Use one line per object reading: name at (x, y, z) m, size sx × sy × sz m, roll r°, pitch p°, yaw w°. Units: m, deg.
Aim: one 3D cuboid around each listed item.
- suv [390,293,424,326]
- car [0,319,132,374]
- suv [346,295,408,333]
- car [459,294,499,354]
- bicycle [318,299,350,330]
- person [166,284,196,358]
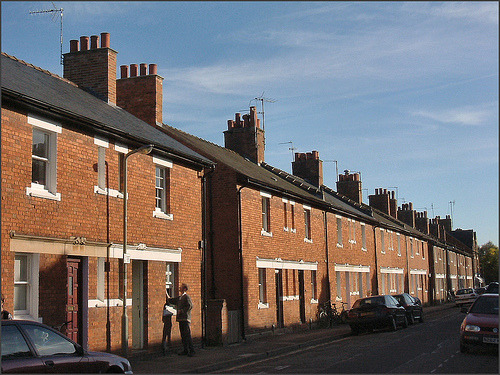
suv at (8.161, 6.354, 35.101) m, size 1.274 × 1.048 × 3.066 m, roll -6°, pitch -9°, yaw 27°
car at (-4.111, 3.458, 14.453) m, size 2.265 × 0.782 × 1.012 m, roll 8°, pitch -15°, yaw -41°
suv at (5.944, 5.807, 30.535) m, size 1.342 × 1.063 × 3.231 m, roll -8°, pitch -11°, yaw 22°
car at (7.255, 4.415, 21.255) m, size 1.203 × 1.638 × 1.740 m, roll -7°, pitch -13°, yaw 20°
bicycle at (3.944, 6.693, 34.973) m, size 1.028 × 1.272 × 2.110 m, roll -8°, pitch -8°, yaw 38°
person at (-2.458, 4.736, 23.470) m, size 1.069 × 2.542 × 1.223 m, roll 14°, pitch -37°, yaw -25°
